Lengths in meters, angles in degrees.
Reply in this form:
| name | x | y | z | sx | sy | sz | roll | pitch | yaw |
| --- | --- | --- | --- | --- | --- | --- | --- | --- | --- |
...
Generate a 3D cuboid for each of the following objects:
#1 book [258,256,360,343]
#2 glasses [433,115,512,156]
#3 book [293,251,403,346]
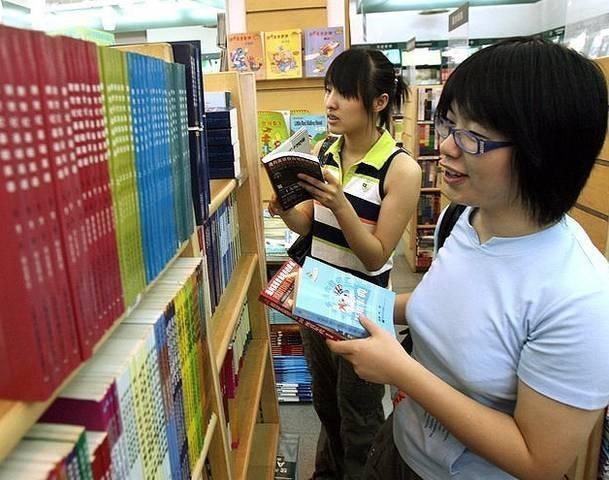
| name | x | y | z | sx | sy | sz | roll | pitch | yaw |
| --- | --- | --- | --- | --- | --- | --- | --- | --- | --- |
| book | -0.043 | 0.122 | 1.384 | 0.292 | 0.063 | 0.201 | 32 | 34 | 9 |
| glasses | 0.337 | -0.208 | 0.979 | 0.133 | 0.043 | 0.139 | 21 | 18 | -10 |
| book | 0.115 | 0.171 | 1.328 | 0.243 | 0.060 | 0.247 | 25 | 27 | -15 |
